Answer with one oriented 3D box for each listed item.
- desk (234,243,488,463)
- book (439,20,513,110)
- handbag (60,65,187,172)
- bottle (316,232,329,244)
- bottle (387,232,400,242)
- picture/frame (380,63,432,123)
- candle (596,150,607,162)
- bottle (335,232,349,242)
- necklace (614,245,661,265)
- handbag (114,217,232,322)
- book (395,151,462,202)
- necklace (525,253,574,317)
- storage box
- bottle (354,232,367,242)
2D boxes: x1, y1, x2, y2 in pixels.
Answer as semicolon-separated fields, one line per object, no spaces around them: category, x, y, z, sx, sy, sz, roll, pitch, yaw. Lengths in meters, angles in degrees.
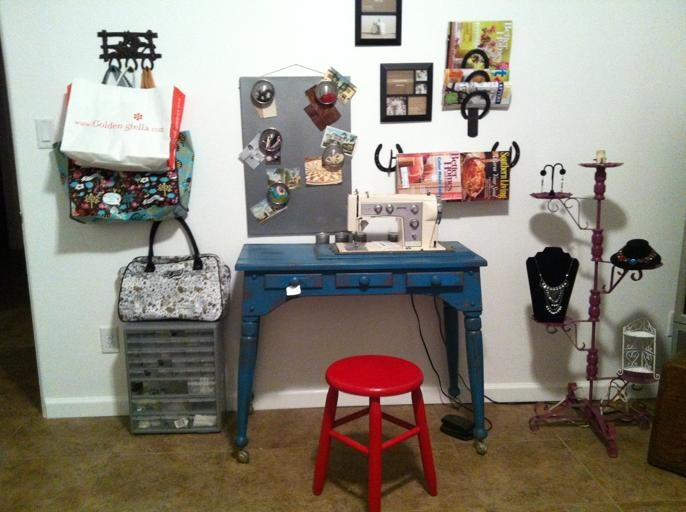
desk;0.076;0.524;3.486;1.359;1.028;0.849;-1;1;-4
book;0.759;-1.121;3.455;0.458;0.533;0.072;1;14;-3
handbag;-1.209;-0.708;3.324;0.628;0.463;0.244;1;-1;-10
bottle;-0.120;-0.101;3.466;0.061;0.058;0.061;-1;3;-23
bottle;0.289;-0.115;3.406;0.048;0.032;0.067;3;2;-10
picture/frame;0.354;-0.957;3.464;0.321;0.323;0.026;1;8;1
candle;1.422;-0.547;3.310;0.045;0.065;0.079;3;10;20
bottle;-0.004;-0.112;3.414;0.060;0.062;0.060;0;8;-9
necklace;1.610;0.005;3.288;0.151;0.064;0.151;-10;26;5
handbag;-1.000;0.078;3.462;0.569;0.533;0.204;-1;-12;-3
book;0.537;-0.481;3.614;0.393;0.279;0.219;2;13;15
necklace;1.176;0.166;3.391;0.266;0.417;0.123;3;11;21
storage box;-0.971;0.689;3.571;0.537;0.633;0.353;-1;6;-3
bottle;0.096;-0.108;3.352;0.053;0.037;0.053;1;2;0
